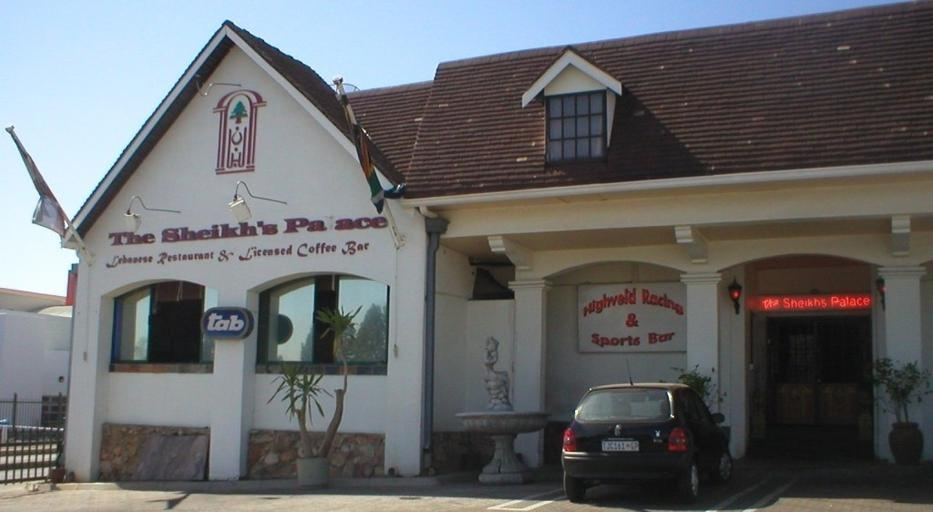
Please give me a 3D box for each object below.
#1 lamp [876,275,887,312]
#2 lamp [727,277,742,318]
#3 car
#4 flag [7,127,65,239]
[{"bbox_3d":[12.413,1.102,25.617,0.256,1.100,1.310,-6,-13,25],"label":"lamp"},{"bbox_3d":[8.676,1.307,27.580,0.417,1.111,0.587,-6,-13,26],"label":"lamp"},{"bbox_3d":[4.540,4.778,21.999,4.185,2.962,1.826,0,-12,-2],"label":"car"},{"bbox_3d":[-13.558,-2.221,27.069,1.851,3.249,2.614,5,-13,-24],"label":"flag"}]
